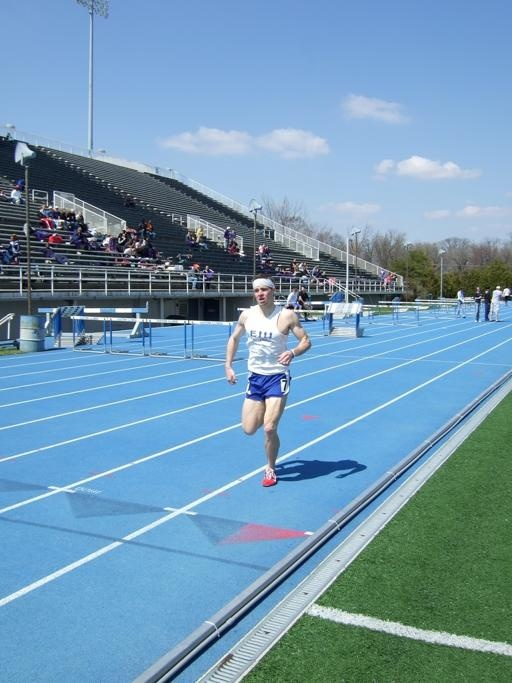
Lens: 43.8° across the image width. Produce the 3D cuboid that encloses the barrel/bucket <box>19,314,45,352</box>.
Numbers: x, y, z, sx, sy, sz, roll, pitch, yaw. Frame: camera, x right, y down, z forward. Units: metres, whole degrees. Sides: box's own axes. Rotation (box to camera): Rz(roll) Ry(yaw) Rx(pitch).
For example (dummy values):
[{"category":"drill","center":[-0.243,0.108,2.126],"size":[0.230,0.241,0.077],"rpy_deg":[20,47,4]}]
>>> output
[{"category":"barrel/bucket","center":[-5.682,-0.199,16.103],"size":[0.559,0.927,0.532],"rpy_deg":[2,4,0]}]

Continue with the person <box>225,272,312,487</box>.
[{"category":"person","center":[0.082,0.287,5.232],"size":[0.718,1.686,0.665],"rpy_deg":[2,10,4]}]
